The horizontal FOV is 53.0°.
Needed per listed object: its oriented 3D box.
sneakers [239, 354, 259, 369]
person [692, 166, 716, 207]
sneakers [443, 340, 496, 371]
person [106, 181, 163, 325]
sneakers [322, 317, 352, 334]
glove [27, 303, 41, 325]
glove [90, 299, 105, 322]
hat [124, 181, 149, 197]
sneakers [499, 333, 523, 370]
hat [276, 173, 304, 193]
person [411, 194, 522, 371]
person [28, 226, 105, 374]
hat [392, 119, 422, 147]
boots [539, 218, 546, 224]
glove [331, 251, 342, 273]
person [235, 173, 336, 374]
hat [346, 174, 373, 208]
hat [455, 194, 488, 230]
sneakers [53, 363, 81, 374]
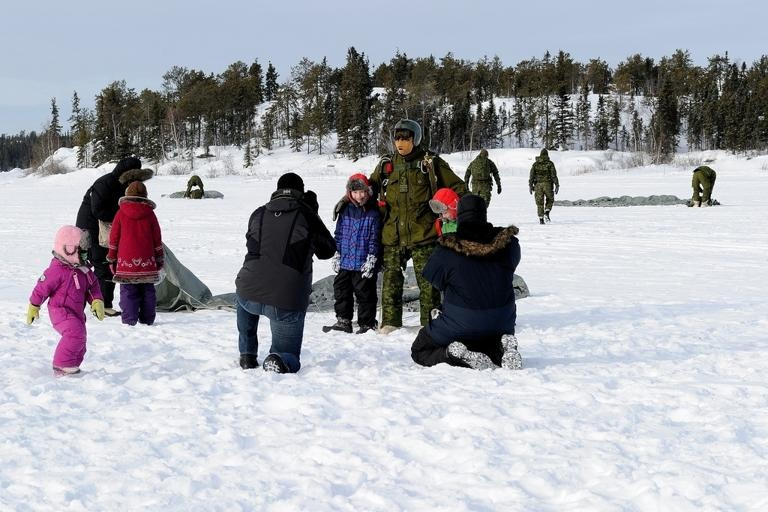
[{"bbox_3d":[-1.348,1.065,7.725,0.087,0.182,0.258,0,5,-24],"label":"sneakers"},{"bbox_3d":[9.412,-2.096,22.755,0.586,1.169,2.435,4,11,21],"label":"person"},{"bbox_3d":[0.873,1.043,7.708,0.489,0.209,0.201,27,-17,-12],"label":"sneakers"},{"bbox_3d":[-2.931,-0.025,9.154,0.639,1.679,0.511,-4,11,-20],"label":"person"},{"bbox_3d":[-0.509,0.837,9.296,0.421,0.269,0.141,5,-7,5],"label":"sneakers"},{"bbox_3d":[-3.501,0.582,7.718,0.104,0.254,0.259,-5,12,-26],"label":"glove"},{"bbox_3d":[-2.903,0.542,7.919,0.093,0.263,0.200,-4,-9,-24],"label":"glove"},{"bbox_3d":[-2.912,-0.784,9.119,0.179,0.144,0.248,-2,10,-17],"label":"hat"},{"bbox_3d":[1.279,0.981,7.746,0.151,0.395,0.165,0,-11,-23],"label":"sneakers"},{"bbox_3d":[-0.919,-0.729,7.768,0.246,0.224,0.187,-2,6,-27],"label":"hat"},{"bbox_3d":[0.867,0.271,7.806,1.059,1.722,0.643,0,10,3],"label":"person"},{"bbox_3d":[-3.180,0.414,7.764,0.551,1.403,0.639,4,11,22],"label":"person"},{"bbox_3d":[0.283,-1.457,9.139,0.334,0.303,0.418,0,11,1],"label":"hat"},{"bbox_3d":[3.786,-0.819,18.442,0.135,0.208,0.129,-2,14,0],"label":"boots"},{"bbox_3d":[-0.560,0.089,9.284,0.082,0.213,0.153,5,3,-3],"label":"glove"},{"bbox_3d":[-0.981,0.176,7.670,0.958,1.954,0.522,-2,10,-11],"label":"person"},{"bbox_3d":[-0.282,-0.798,9.228,0.301,0.368,0.369,-3,0,2],"label":"hat"},{"bbox_3d":[0.901,-0.449,7.882,0.279,0.343,0.362,5,5,3],"label":"hat"},{"bbox_3d":[-3.102,1.121,7.571,0.232,0.091,0.082,-4,11,-19],"label":"sneakers"}]
